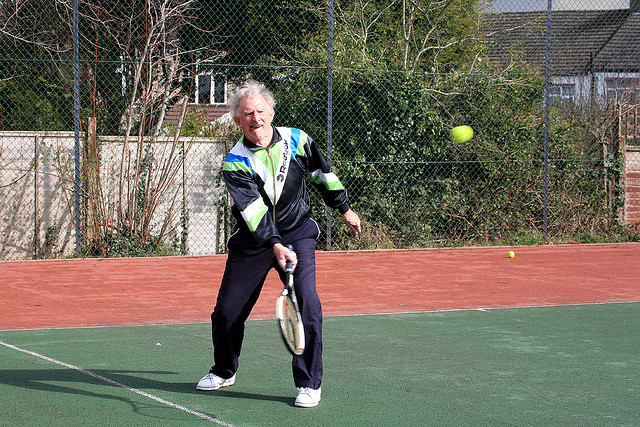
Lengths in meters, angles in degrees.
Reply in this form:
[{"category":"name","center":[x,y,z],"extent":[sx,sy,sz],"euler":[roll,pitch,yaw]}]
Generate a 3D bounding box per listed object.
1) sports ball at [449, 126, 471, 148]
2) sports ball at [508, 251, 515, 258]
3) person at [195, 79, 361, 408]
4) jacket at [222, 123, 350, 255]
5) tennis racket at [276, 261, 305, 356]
[{"category":"sports ball","center":[2.826,-1.542,14.010],"extent":[0.364,0.283,0.290],"euler":[-17,-31,-29]},{"category":"sports ball","center":[3.741,0.796,13.581],"extent":[0.087,0.093,0.106],"euler":[6,4,38]},{"category":"person","center":[-0.509,0.277,7.493],"extent":[1.268,3.320,1.163],"euler":[4,12,16]},{"category":"jacket","center":[-0.416,-0.311,7.668],"extent":[1.082,1.312,1.517],"euler":[20,36,41]},{"category":"tennis racket","center":[-0.282,0.961,7.200],"extent":[0.270,0.942,0.538],"euler":[0,12,-1]}]
